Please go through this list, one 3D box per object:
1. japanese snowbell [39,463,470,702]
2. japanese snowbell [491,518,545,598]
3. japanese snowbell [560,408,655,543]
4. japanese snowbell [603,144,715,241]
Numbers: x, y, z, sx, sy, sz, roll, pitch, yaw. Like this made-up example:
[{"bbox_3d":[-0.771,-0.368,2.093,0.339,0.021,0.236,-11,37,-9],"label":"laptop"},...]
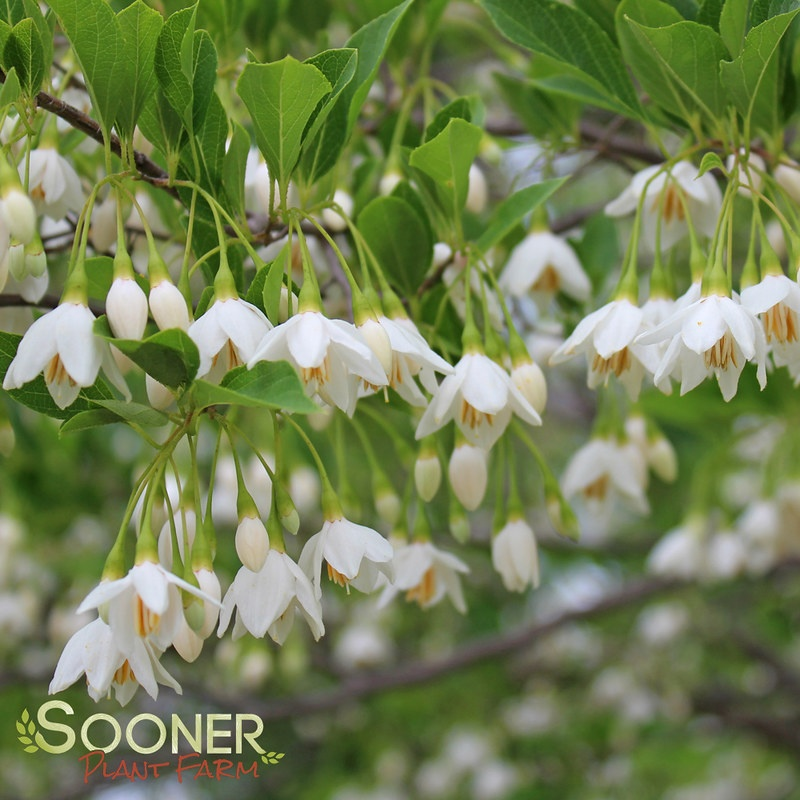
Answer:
[{"bbox_3d":[-0.318,0.335,1.649,0.327,0.162,0.382,-7,21,10],"label":"japanese snowbell"},{"bbox_3d":[0.243,0.306,2.004,0.047,0.063,0.138,41,41,-30],"label":"japanese snowbell"},{"bbox_3d":[0.484,0.077,2.452,0.200,0.511,0.240,6,62,15],"label":"japanese snowbell"},{"bbox_3d":[0.583,-0.436,2.193,0.160,0.199,0.130,4,56,8],"label":"japanese snowbell"}]
